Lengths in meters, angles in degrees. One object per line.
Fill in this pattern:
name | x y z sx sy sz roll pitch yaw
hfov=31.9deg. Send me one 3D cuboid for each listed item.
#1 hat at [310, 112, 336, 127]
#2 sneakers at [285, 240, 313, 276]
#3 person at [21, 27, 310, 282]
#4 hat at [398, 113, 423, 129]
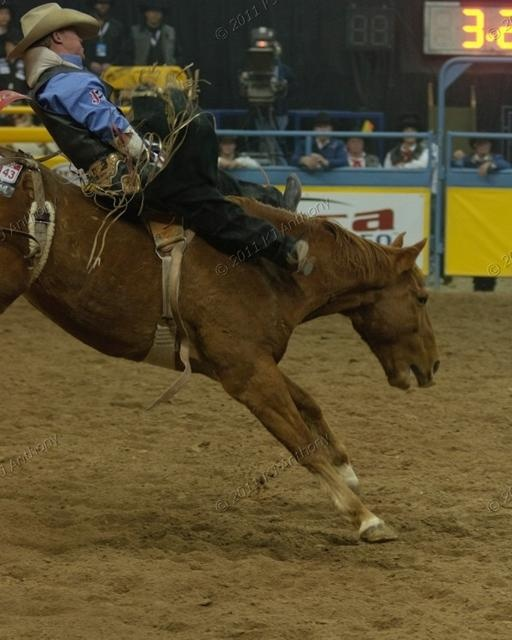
hat | 0.738 -2.216 9.960 0.181 0.161 0.177 1 15 -5
sneakers | 0.181 -0.258 3.796 0.145 0.128 0.112 -10 8 -13
person | -0.439 -0.754 3.808 1.670 0.741 0.537 11 7 -25
hat | 1.848 -2.374 10.785 0.252 0.183 0.389 4 14 8
